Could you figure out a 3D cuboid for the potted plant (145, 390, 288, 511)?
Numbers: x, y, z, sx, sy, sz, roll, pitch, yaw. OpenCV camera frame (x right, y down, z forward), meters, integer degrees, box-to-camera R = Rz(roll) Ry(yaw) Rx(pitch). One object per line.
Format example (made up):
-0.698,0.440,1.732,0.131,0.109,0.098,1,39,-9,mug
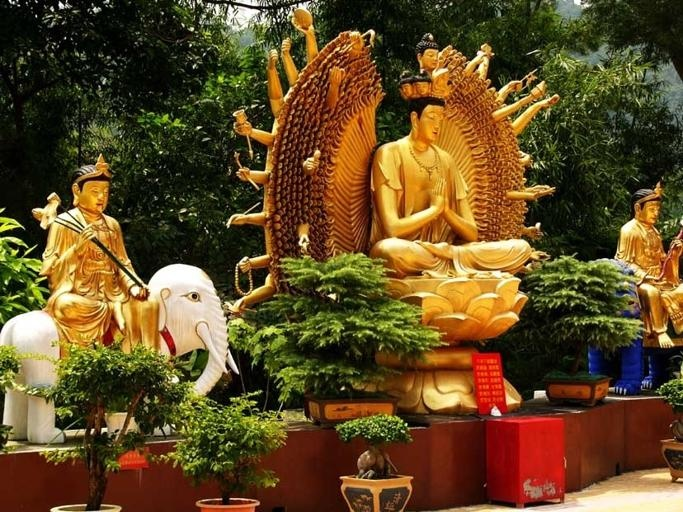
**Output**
-1.089,1.763,10.851,1.203,0.935,1.136,6,-11,-40,potted plant

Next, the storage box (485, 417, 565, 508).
1.828,2.091,11.801,0.898,1.066,0.633,3,-5,-30,storage box

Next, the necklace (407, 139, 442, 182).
0.919,-1.057,13.081,0.332,0.395,0.141,-17,-5,-34,necklace

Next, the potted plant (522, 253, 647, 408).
2.722,0.897,13.948,1.529,1.642,1.492,4,-6,-1,potted plant

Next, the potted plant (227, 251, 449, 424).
0.246,0.962,12.231,2.002,1.330,1.607,5,21,29,potted plant

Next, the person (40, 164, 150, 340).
-2.494,0.019,11.947,1.112,1.926,0.481,-3,-10,-18,person
